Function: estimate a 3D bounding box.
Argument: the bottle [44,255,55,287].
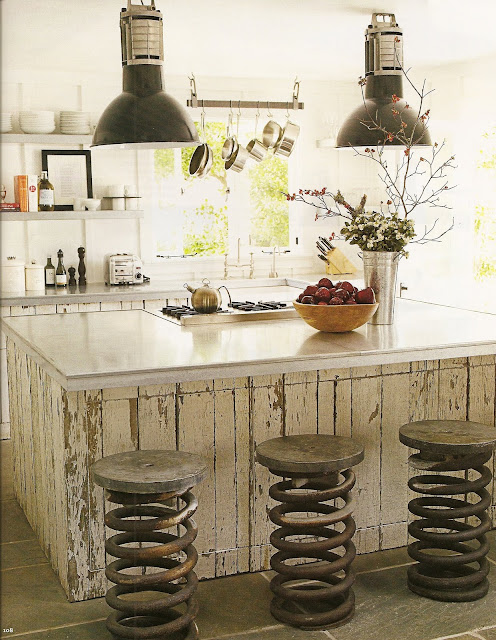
[{"bbox_3d":[-1.459,-0.357,5.355,0.073,0.218,0.101,-2,5,-16],"label":"bottle"}]

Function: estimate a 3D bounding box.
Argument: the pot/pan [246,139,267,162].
[{"bbox_3d":[0.034,-1.231,5.255,0.138,0.109,0.174,20,18,-15],"label":"pot/pan"}]

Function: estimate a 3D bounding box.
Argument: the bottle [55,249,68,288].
[{"bbox_3d":[-1.396,-0.395,5.440,0.087,0.282,0.308,-2,4,-13],"label":"bottle"}]

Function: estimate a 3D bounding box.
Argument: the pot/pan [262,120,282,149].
[{"bbox_3d":[0.145,-1.311,5.157,0.106,0.184,0.178,5,45,-22],"label":"pot/pan"}]

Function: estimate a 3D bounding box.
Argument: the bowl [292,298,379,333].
[{"bbox_3d":[0.357,-0.014,3.045,0.337,0.124,0.120,0,4,6],"label":"bowl"}]

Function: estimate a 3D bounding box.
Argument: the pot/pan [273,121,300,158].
[{"bbox_3d":[0.255,-1.269,5.070,0.158,0.223,0.282,-1,4,2],"label":"pot/pan"}]

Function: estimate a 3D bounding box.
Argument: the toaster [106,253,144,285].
[{"bbox_3d":[-0.934,-0.395,5.493,0.271,0.229,0.242,-4,11,-21],"label":"toaster"}]

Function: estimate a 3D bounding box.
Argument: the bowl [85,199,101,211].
[{"bbox_3d":[-1.156,-0.860,5.428,0.119,0.075,0.111,0,9,0],"label":"bowl"}]

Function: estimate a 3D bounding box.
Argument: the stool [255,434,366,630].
[{"bbox_3d":[0.208,0.753,2.547,0.380,0.613,0.357,-3,13,-23],"label":"stool"}]

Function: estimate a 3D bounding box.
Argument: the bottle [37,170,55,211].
[{"bbox_3d":[-1.472,-0.942,5.310,0.116,0.291,0.260,-2,4,-15],"label":"bottle"}]

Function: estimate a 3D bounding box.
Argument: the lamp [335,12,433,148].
[{"bbox_3d":[0.611,-1.055,3.383,0.449,0.680,0.371,-7,14,-26],"label":"lamp"}]

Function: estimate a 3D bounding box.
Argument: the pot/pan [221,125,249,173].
[{"bbox_3d":[-0.098,-1.180,5.112,0.180,0.239,0.181,-1,4,-2],"label":"pot/pan"}]
